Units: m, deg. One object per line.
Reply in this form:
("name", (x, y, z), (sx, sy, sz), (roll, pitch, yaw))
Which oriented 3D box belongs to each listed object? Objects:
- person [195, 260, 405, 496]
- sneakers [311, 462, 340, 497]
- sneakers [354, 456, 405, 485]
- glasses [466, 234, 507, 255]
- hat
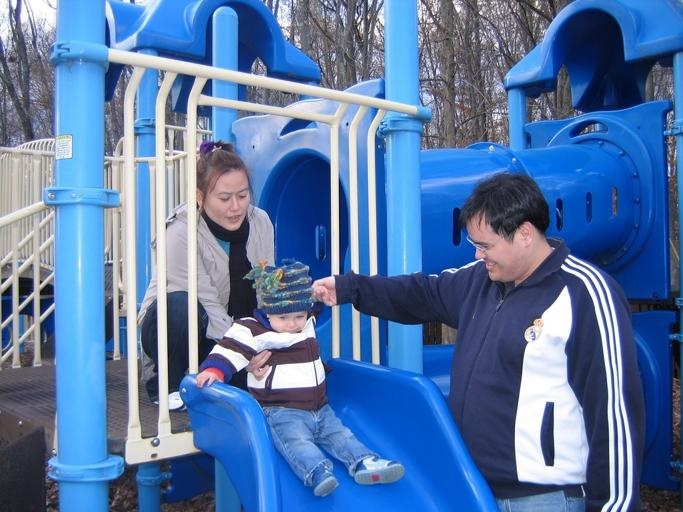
("person", (-0.208, 0.606, 3.637), (0.817, 0.871, 1.045), (-5, 32, -42))
("sneakers", (-0.092, 1.006, 3.401), (0.119, 0.147, 0.143), (15, 6, -17))
("sneakers", (0.173, 0.994, 3.500), (0.249, 0.123, 0.178), (2, 12, 0))
("glasses", (0.683, -0.045, 3.404), (0.111, 0.055, 0.106), (34, -12, -39))
("hat", (-0.317, 0.166, 3.678), (0.264, 0.236, 0.244), (-9, -2, 26))
